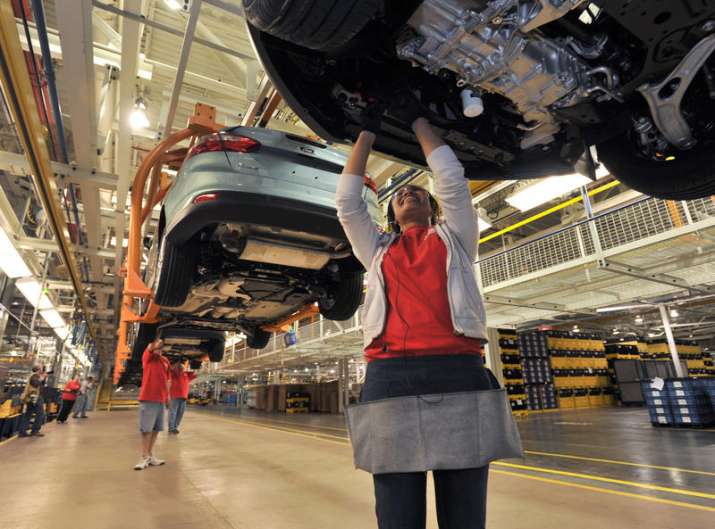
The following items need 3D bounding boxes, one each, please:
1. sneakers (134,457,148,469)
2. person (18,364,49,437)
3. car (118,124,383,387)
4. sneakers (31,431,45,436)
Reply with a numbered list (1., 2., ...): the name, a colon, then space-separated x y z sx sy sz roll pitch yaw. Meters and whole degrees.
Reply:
1. sneakers: -2.877 2.616 5.022 0.109 0.105 0.265 2 -5 -13
2. person: -7.543 3.170 8.978 0.544 1.593 1.612 14 -22 -34
3. car: -1.716 -0.074 5.083 2.249 1.709 4.333 11 -37 -24
4. sneakers: -7.401 3.879 8.816 0.240 0.115 0.564 13 -20 -38
